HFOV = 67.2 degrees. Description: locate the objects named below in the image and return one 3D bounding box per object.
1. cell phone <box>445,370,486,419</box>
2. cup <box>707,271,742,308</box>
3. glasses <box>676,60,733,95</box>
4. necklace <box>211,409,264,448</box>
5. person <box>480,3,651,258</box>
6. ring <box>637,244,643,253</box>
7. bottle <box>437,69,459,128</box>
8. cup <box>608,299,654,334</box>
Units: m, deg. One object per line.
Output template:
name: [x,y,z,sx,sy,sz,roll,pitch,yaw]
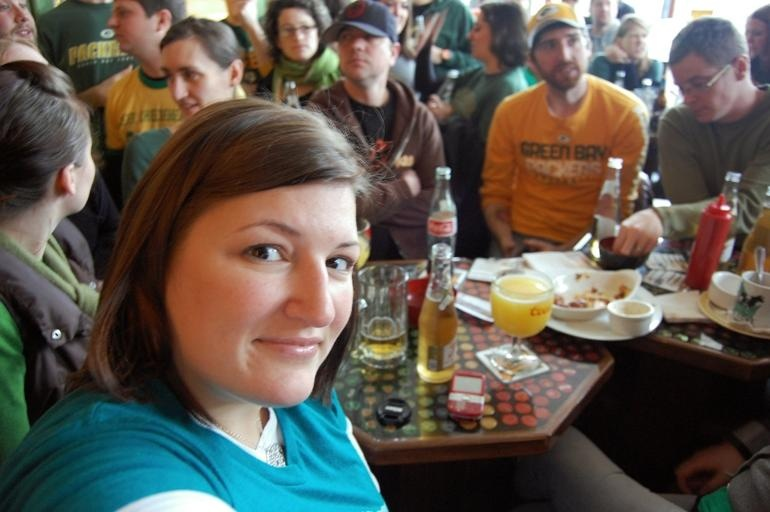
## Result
cell phone: [0.245,0.412,1.720,0.100,0.077,0.139,3,19,13]
cup: [1.166,0.105,2.003,0.106,0.083,0.119,11,26,29]
glasses: [1.307,-0.720,2.376,0.124,0.037,0.117,-34,3,-9]
necklace: [-0.362,0.412,1.398,0.102,0.052,0.093,24,12,18]
person: [0.811,-0.591,2.528,0.823,1.151,0.710,11,28,30]
ring: [0.950,-0.027,2.165,0.018,0.013,0.017,-4,22,2]
bottle: [0.292,-0.788,2.676,0.098,0.143,0.008,4,21,17]
cup: [0.806,0.196,1.928,0.111,0.065,0.133,-15,22,-26]
